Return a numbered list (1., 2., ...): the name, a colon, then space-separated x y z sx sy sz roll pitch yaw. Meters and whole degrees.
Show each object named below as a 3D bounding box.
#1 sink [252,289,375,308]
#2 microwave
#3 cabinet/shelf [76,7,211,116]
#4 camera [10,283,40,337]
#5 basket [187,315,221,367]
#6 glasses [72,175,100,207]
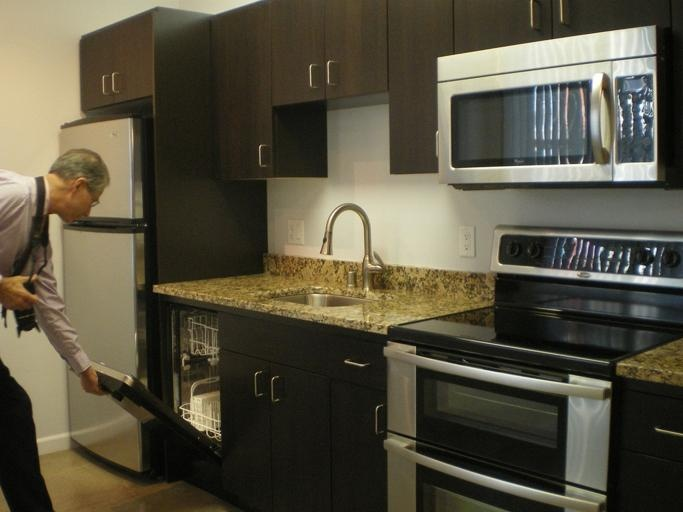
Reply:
1. sink: -0.092 0.219 3.045 0.500 0.096 0.241 -1 6 14
2. microwave: 0.745 -0.521 2.152 0.767 0.528 0.490 3 5 42
3. cabinet/shelf: -1.201 -1.125 3.495 0.944 0.493 0.327 2 6 35
4. camera: -1.469 0.212 2.795 0.169 0.312 0.110 0 2 -21
5. basket: -0.722 0.464 3.264 0.125 0.308 0.240 -7 7 -44
6. glasses: -1.130 -0.293 2.675 0.113 0.180 0.111 -1 19 -38
